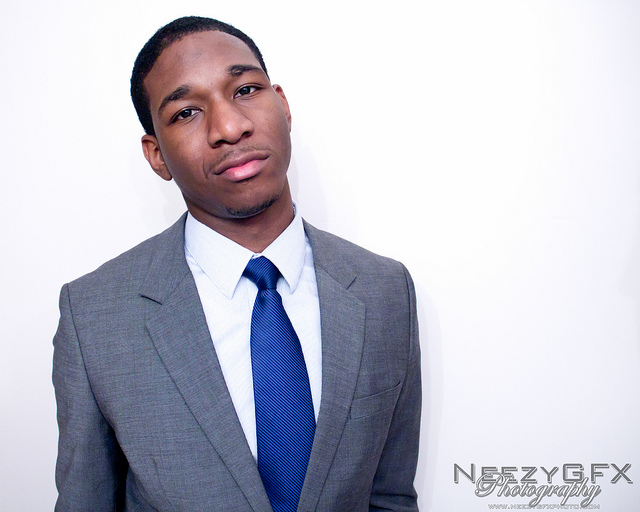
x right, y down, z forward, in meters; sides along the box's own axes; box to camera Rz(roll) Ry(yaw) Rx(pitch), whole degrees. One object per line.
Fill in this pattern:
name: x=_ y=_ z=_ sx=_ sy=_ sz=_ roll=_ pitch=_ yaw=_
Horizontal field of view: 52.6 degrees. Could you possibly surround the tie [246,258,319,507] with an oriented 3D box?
tie: x=-0.148 y=0.416 z=2.240 sx=0.225 sy=0.835 sz=0.155 roll=-13 pitch=-20 yaw=6
